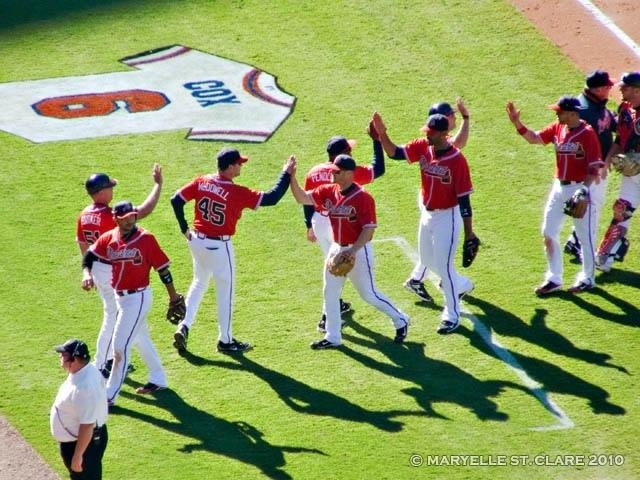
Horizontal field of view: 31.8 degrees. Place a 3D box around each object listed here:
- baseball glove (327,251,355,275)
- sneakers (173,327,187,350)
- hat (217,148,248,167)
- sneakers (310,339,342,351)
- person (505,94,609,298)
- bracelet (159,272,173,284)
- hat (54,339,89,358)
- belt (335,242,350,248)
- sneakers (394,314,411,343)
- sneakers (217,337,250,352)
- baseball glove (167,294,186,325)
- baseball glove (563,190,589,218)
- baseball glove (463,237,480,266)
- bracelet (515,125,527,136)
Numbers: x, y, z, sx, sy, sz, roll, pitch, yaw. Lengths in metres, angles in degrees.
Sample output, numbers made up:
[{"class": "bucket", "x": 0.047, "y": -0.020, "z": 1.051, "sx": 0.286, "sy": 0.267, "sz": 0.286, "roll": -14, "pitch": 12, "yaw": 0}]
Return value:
[{"class": "baseball glove", "x": 0.278, "y": 0.366, "z": 14.738, "sx": 0.336, "sy": 0.365, "sz": 0.181, "roll": -12, "pitch": 28, "yaw": -9}, {"class": "sneakers", "x": -1.871, "y": 1.352, "z": 15.198, "sx": 0.162, "sy": 0.334, "sz": 0.167, "roll": 12, "pitch": 39, "yaw": 12}, {"class": "hat", "x": -1.178, "y": -1.065, "z": 14.815, "sx": 0.357, "sy": 0.171, "sz": 0.230, "roll": -16, "pitch": 33, "yaw": -15}, {"class": "sneakers", "x": 0.085, "y": 1.419, "z": 15.287, "sx": 0.432, "sy": 0.155, "sz": 0.145, "roll": 5, "pitch": 3, "yaw": 1}, {"class": "person", "x": 3.482, "y": -0.658, "z": 15.832, "sx": 1.027, "sy": 2.715, "sz": 1.250, "roll": -4, "pitch": 28, "yaw": 8}, {"class": "bracelet", "x": -1.970, "y": 0.492, "z": 14.425, "sx": 0.151, "sy": 0.135, "sz": 0.141, "roll": -4, "pitch": 29, "yaw": 25}, {"class": "hat", "x": -2.862, "y": 1.267, "z": 12.977, "sx": 0.332, "sy": 0.166, "sz": 0.214, "roll": 13, "pitch": 6, "yaw": 3}, {"class": "belt", "x": 0.306, "y": 0.080, "z": 14.875, "sx": 0.149, "sy": 0.064, "sz": 0.020, "roll": 2, "pitch": 30, "yaw": 17}, {"class": "sneakers", "x": 1.097, "y": 1.199, "z": 15.299, "sx": 0.146, "sy": 0.382, "sz": 0.182, "roll": 11, "pitch": 6, "yaw": 36}, {"class": "sneakers", "x": -1.191, "y": 1.423, "z": 15.318, "sx": 0.427, "sy": 0.173, "sz": 0.174, "roll": -3, "pitch": 11, "yaw": -6}, {"class": "baseball glove", "x": -1.870, "y": 0.918, "z": 14.557, "sx": 0.296, "sy": 0.345, "sz": 0.322, "roll": 6, "pitch": 27, "yaw": 5}, {"class": "baseball glove", "x": 3.532, "y": -0.491, "z": 15.547, "sx": 0.359, "sy": 0.443, "sz": 0.287, "roll": -1, "pitch": 28, "yaw": 13}, {"class": "baseball glove", "x": 2.034, "y": 0.177, "z": 15.278, "sx": 0.207, "sy": 0.421, "sz": 0.167, "roll": 1, "pitch": 27, "yaw": -14}, {"class": "bracelet", "x": 2.882, "y": -1.549, "z": 16.041, "sx": 0.142, "sy": 0.098, "sz": 0.138, "roll": -29, "pitch": 22, "yaw": -28}]
